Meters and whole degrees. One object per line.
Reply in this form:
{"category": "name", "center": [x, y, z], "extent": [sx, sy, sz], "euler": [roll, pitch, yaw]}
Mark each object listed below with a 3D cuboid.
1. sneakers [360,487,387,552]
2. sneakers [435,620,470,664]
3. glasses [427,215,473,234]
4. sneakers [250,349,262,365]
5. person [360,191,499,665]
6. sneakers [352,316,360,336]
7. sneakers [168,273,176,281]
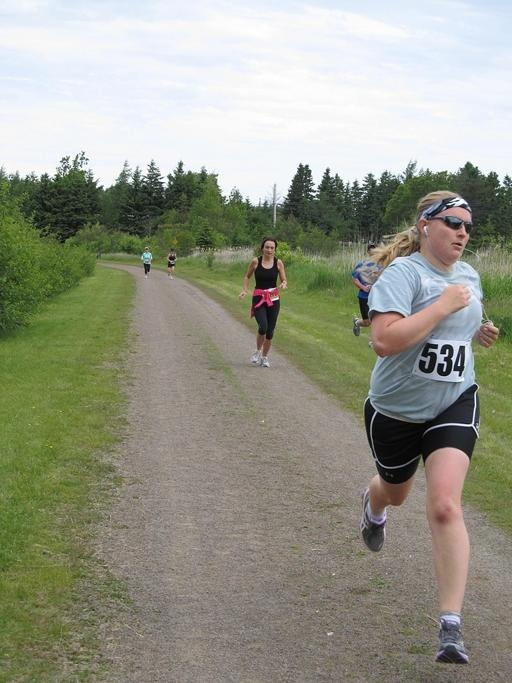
{"category": "sneakers", "center": [0.662, 1.041, 4.113], "extent": [0.139, 0.388, 0.172], "euler": [0, -15, -10]}
{"category": "sneakers", "center": [0.772, 1.174, 2.832], "extent": [0.122, 0.183, 0.288], "euler": [-5, -23, 14]}
{"category": "glasses", "center": [0.900, -0.516, 3.277], "extent": [0.112, 0.035, 0.111], "euler": [12, 0, -12]}
{"category": "sneakers", "center": [-0.014, 0.227, 11.253], "extent": [0.110, 0.286, 0.132], "euler": [5, -38, 4]}
{"category": "person", "center": [0.784, 0.347, 3.308], "extent": [0.600, 2.101, 1.389], "euler": [4, 7, 9]}
{"category": "sneakers", "center": [1.930, -0.278, 13.841], "extent": [0.159, 0.439, 0.196], "euler": [-4, 8, -5]}
{"category": "sneakers", "center": [-4.070, -3.097, 34.301], "extent": [0.219, 0.256, 0.619], "euler": [8, -6, -4]}
